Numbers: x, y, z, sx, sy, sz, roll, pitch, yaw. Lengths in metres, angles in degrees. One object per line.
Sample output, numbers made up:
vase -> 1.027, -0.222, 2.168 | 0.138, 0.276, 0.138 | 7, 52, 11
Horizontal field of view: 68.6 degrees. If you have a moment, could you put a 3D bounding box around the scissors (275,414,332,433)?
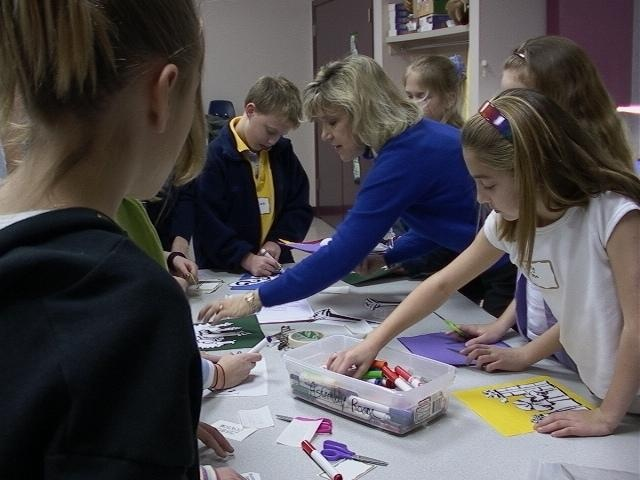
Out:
scissors -> -0.033, 0.407, 1.058 | 0.113, 0.016, 0.041 | 4, 23, 11

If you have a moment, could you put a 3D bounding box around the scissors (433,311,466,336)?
scissors -> 0.435, 0.275, 1.514 | 0.140, 0.039, 0.024 | 38, 68, 9

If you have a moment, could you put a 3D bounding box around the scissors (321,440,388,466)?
scissors -> 0.071, 0.432, 0.945 | 0.134, 0.019, 0.044 | 8, 22, 27
